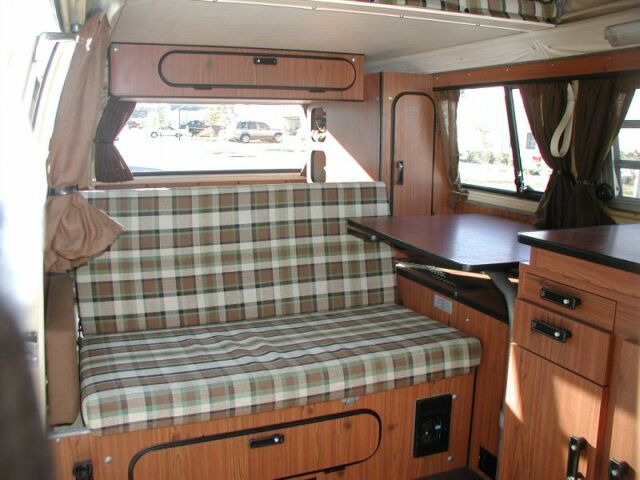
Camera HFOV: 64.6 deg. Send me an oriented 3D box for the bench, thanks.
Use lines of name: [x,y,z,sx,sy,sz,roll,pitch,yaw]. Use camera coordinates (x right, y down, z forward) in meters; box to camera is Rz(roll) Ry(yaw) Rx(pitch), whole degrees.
bench: [-0.195,0.192,2.376,1.746,0.658,0.911,-3,19,-26]

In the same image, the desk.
desk: [0.715,0.231,2.450,0.733,0.383,0.683,-7,17,-25]
